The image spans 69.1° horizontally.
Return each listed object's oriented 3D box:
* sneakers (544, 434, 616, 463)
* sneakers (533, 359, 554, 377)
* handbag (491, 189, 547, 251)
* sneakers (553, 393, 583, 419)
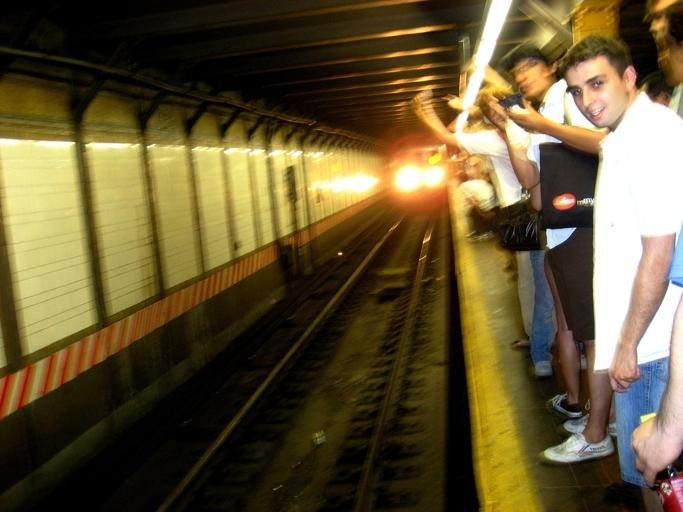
[{"bbox_3d":[1.612,1.333,3.484,0.552,0.184,0.184,-9,2,10],"label":"sneakers"},{"bbox_3d":[1.954,1.092,4.797,0.199,0.152,0.151,-6,-10,34],"label":"sneakers"},{"bbox_3d":[1.680,-0.331,4.720,0.224,0.391,0.572,12,-3,8],"label":"handbag"},{"bbox_3d":[1.840,1.227,4.077,0.117,0.104,0.266,-7,9,-26],"label":"sneakers"}]
